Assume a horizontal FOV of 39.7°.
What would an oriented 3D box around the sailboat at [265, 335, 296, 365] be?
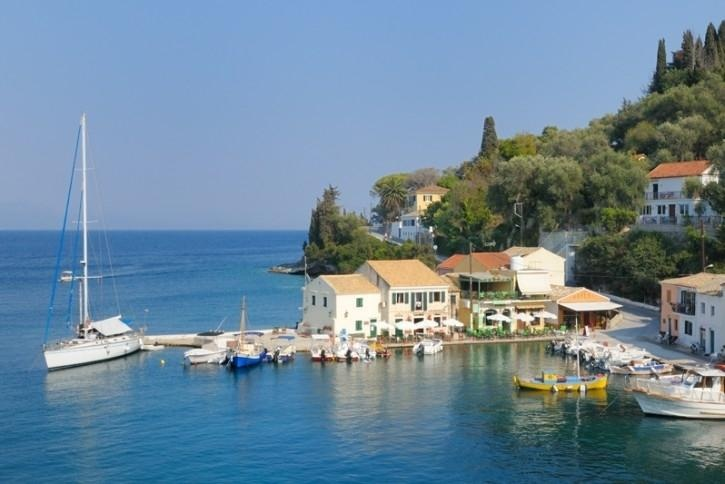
[{"bbox_3d":[-10.576,13.946,129.093,2.509,3.005,6.589,0,-4,1],"label":"sailboat"}]
